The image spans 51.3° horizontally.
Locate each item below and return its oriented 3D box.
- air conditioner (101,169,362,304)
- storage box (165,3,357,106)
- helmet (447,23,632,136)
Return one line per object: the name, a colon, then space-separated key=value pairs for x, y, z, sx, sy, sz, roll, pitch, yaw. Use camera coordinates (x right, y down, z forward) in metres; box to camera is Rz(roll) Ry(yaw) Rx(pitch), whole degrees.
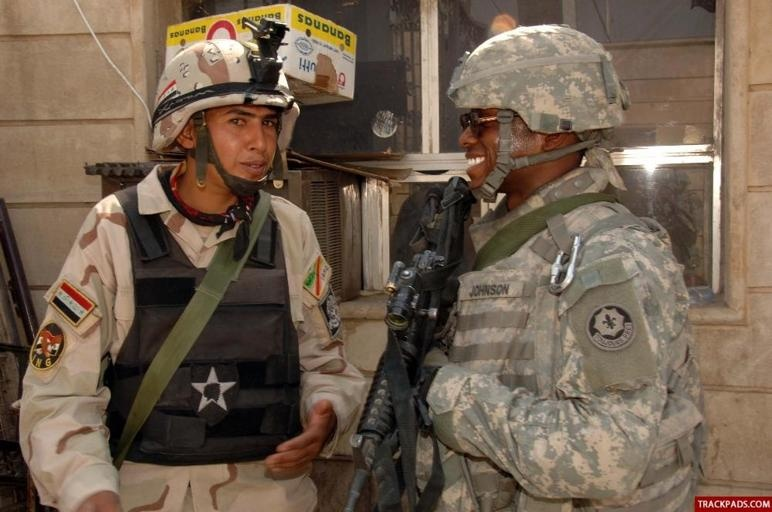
air conditioner: x=-0.942 y=-0.127 z=5.827 sx=1.414 sy=0.856 sz=1.050 roll=-1 pitch=5 yaw=-8
storage box: x=-0.852 y=-1.430 z=5.628 sx=0.757 sy=0.461 sz=1.061 roll=1 pitch=-1 yaw=42
helmet: x=0.792 y=-0.868 z=4.019 sx=0.716 sy=0.411 sz=0.552 roll=-4 pitch=16 yaw=-2
